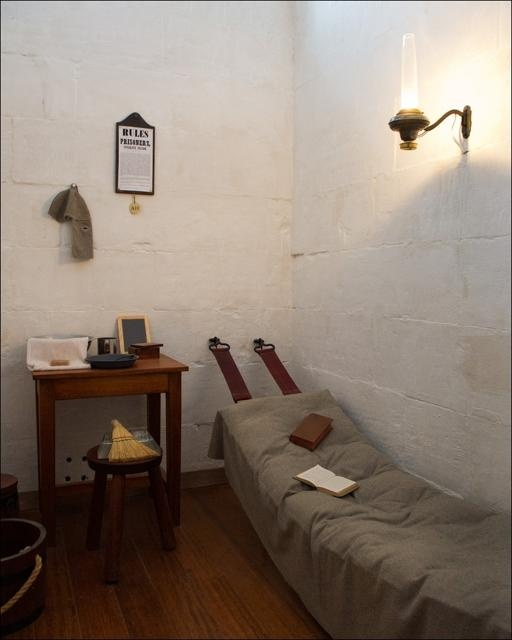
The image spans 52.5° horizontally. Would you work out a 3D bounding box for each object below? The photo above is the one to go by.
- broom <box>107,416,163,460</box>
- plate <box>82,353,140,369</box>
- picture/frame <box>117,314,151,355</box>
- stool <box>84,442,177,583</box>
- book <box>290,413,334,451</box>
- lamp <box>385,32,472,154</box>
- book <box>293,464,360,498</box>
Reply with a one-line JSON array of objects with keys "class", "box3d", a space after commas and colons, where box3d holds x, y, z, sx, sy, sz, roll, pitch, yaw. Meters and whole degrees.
[{"class": "broom", "box3d": [-0.436, 0.410, 1.825, 0.175, 0.119, 0.167, 0, 3, -23]}, {"class": "plate", "box3d": [-0.592, 0.169, 2.120, 0.190, 0.044, 0.187, 0, 3, -9]}, {"class": "picture/frame", "box3d": [-0.585, 0.074, 2.445, 0.142, 0.245, 0.010, 4, -16, -38]}, {"class": "stool", "box3d": [-0.474, 0.666, 1.910, 0.291, 0.425, 0.279, 8, 14, 37]}, {"class": "book", "box3d": [0.224, 0.442, 2.073, 0.127, 0.100, 0.195, 3, 3, 33]}, {"class": "lamp", "box3d": [0.530, -0.744, 1.711, 0.273, 0.408, 0.269, -1, 3, -23]}, {"class": "book", "box3d": [0.243, 0.544, 1.746, 0.196, 0.042, 0.159, 3, 3, 33]}]
